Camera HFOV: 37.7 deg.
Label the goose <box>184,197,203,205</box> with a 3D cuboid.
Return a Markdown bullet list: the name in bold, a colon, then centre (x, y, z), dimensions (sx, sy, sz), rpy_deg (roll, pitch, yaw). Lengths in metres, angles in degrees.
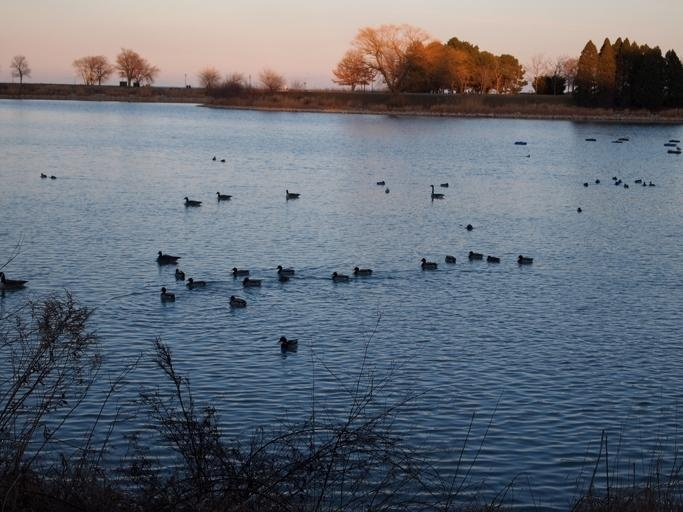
- **goose**: centre (-9.266, -3.342, 62.366), dimensions (1.073, 0.520, 2.244), rpy_deg (-8, -2, -9)

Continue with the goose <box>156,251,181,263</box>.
- **goose**: centre (-8.181, 0.087, 47.451), dimensions (1.085, 0.654, 0.526), rpy_deg (4, 5, -9)

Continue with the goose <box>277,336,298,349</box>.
- **goose**: centre (-1.964, 3.235, 37.359), dimensions (0.630, 0.473, 0.396), rpy_deg (-9, -2, -7)

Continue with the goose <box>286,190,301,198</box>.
- **goose**: centre (-3.182, -3.909, 65.097), dimensions (0.906, 0.630, 1.609), rpy_deg (-9, -2, -1)
